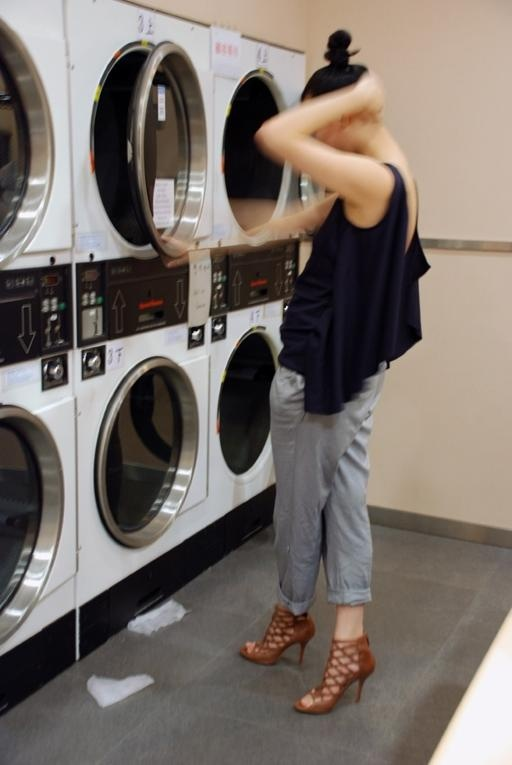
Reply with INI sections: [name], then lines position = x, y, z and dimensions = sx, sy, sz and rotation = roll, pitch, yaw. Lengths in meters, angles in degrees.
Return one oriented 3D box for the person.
[person]
position = 0.202, 0.097, 1.307
dimensions = 0.398, 1.614, 0.516
rotation = 1, 5, 4
